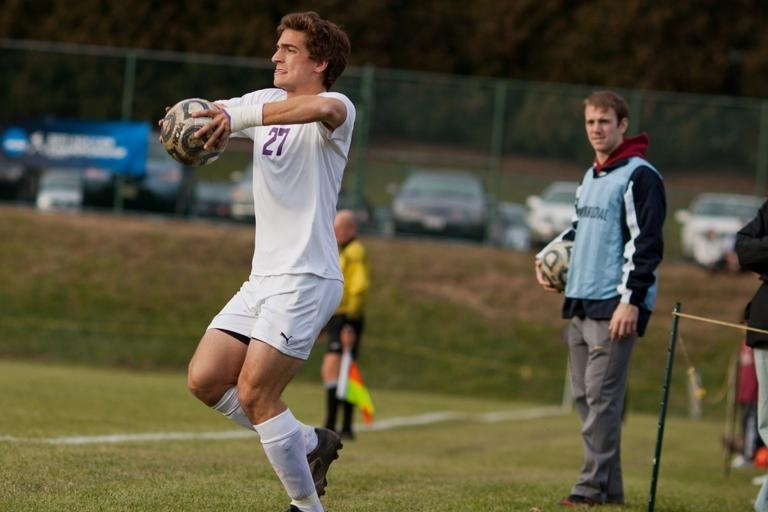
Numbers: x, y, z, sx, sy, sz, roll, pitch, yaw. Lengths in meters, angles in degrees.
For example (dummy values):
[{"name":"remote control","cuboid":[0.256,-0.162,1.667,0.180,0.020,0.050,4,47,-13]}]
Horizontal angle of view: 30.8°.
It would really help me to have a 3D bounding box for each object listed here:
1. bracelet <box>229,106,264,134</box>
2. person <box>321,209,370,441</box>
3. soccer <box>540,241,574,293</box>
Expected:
[{"name":"bracelet","cuboid":[-1.816,-1.845,18.559,0.432,0.260,0.168,-11,-12,5]},{"name":"person","cuboid":[-0.578,1.019,23.309,0.947,3.328,1.019,3,-3,32]},{"name":"soccer","cuboid":[2.487,0.105,20.112,0.532,0.655,0.662,-11,47,-4]}]
